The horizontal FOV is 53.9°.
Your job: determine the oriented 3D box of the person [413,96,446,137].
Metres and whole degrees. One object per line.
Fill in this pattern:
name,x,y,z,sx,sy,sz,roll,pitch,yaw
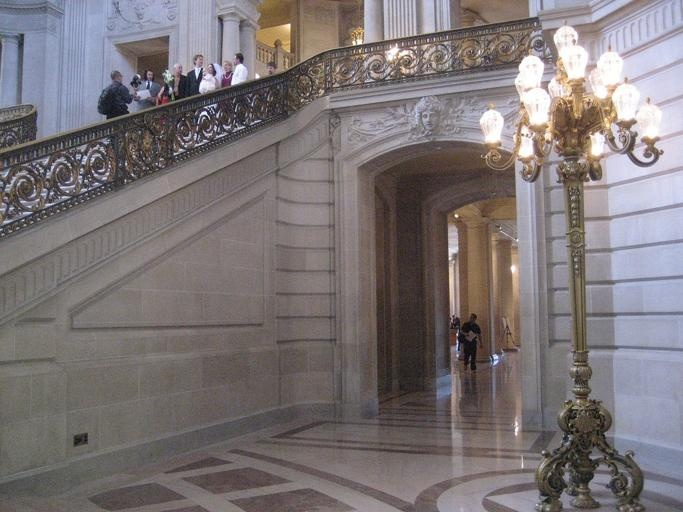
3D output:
person,1.494,-2.323,11.150,0.556,0.814,0.323,-3,-4,17

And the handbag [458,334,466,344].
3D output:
handbag,3.404,2.323,18.815,0.082,0.261,0.254,7,-8,-20

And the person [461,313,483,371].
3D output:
person,3.556,2.355,18.563,0.526,1.543,1.655,-2,-5,11

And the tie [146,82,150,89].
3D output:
tie,-3.546,-3.128,12.288,0.063,0.129,0.029,2,1,10
